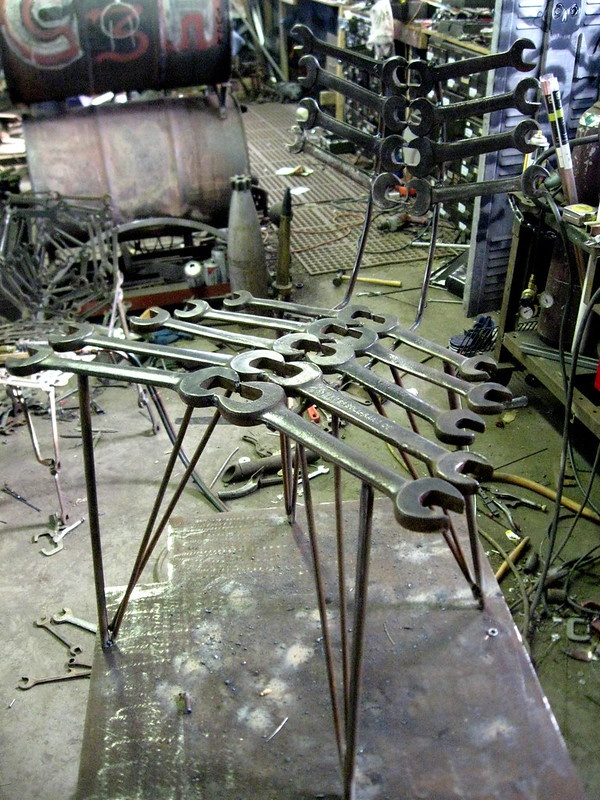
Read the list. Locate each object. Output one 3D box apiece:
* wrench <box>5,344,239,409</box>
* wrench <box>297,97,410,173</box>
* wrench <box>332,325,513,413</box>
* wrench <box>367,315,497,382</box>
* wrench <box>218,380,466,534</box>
[{"bbox_3d":[-0.494,-0.069,1.684,0.756,0.055,0.218,10,34,21],"label":"wrench"},{"bbox_3d":[0.210,-1.071,2.666,0.239,0.272,0.547,-20,32,-30],"label":"wrench"},{"bbox_3d":[0.305,-0.097,1.709,0.175,0.041,0.556,-19,34,-30],"label":"wrench"},{"bbox_3d":[0.338,-0.152,1.867,0.130,0.039,0.538,-21,33,-26],"label":"wrench"},{"bbox_3d":[-0.019,0.073,1.373,0.206,0.058,0.815,-17,32,-36],"label":"wrench"}]
